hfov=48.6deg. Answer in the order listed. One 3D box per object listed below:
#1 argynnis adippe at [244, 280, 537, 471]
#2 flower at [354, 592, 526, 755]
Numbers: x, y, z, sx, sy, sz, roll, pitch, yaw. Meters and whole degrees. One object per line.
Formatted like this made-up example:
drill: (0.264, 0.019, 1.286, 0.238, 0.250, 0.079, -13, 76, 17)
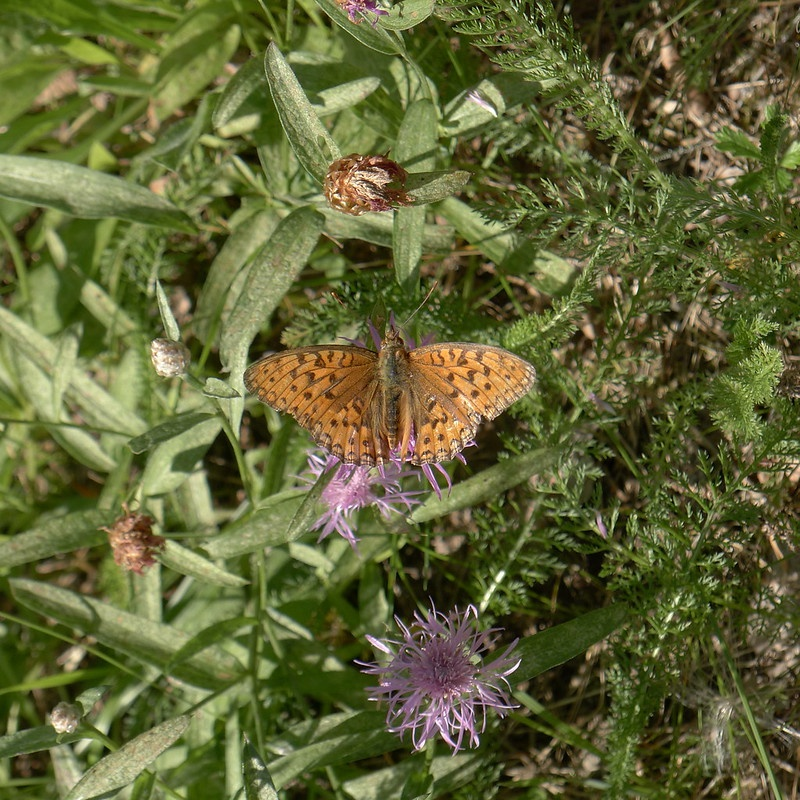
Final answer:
argynnis adippe: (-0.020, 0.006, 1.942, 0.506, 0.349, 0.301, 27, 64, 14)
flower: (0.093, 0.648, 2.061, 0.452, 0.161, 0.401, -4, 80, -4)
